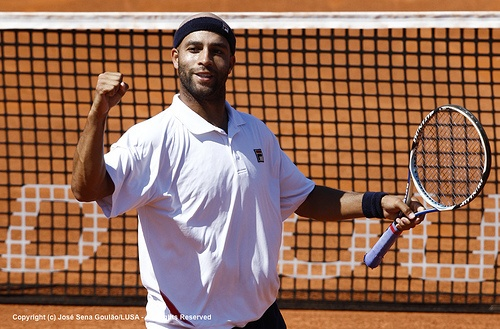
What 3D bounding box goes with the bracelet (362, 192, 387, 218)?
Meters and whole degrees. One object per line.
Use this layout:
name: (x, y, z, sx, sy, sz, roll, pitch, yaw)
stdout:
bracelet: (1.404, 0.434, 11.275, 0.263, 0.355, 0.303, -1, 8, 28)
